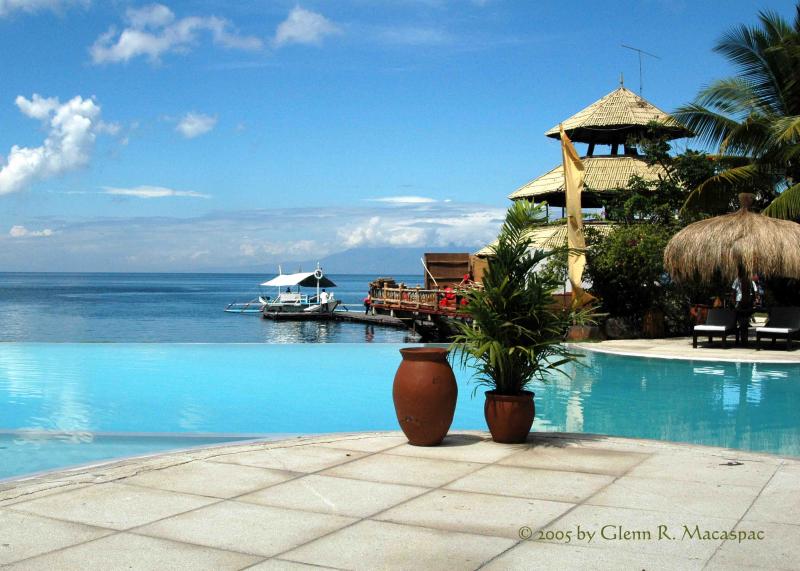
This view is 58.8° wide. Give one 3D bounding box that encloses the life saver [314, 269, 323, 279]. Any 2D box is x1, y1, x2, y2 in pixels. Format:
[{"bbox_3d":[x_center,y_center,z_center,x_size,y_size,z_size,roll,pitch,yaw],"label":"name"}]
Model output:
[{"bbox_3d":[-6.565,-0.906,57.409,0.802,0.753,0.246,-1,9,2],"label":"life saver"}]
